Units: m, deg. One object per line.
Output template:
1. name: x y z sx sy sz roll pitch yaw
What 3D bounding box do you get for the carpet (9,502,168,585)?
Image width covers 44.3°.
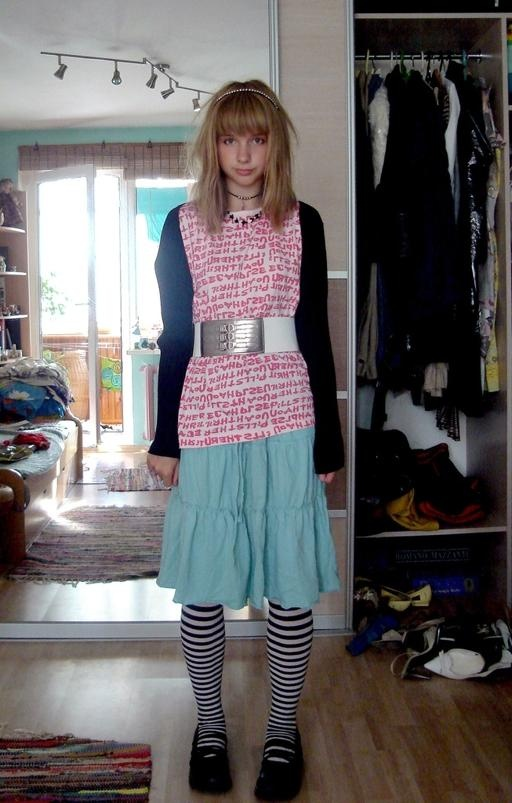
1. carpet: -0.669 0.574 2.704 0.522 0.087 0.904 -3 7 -6

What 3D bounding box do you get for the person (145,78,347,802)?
1. person: -0.021 0.097 1.117 0.343 1.270 0.214 -1 5 8
